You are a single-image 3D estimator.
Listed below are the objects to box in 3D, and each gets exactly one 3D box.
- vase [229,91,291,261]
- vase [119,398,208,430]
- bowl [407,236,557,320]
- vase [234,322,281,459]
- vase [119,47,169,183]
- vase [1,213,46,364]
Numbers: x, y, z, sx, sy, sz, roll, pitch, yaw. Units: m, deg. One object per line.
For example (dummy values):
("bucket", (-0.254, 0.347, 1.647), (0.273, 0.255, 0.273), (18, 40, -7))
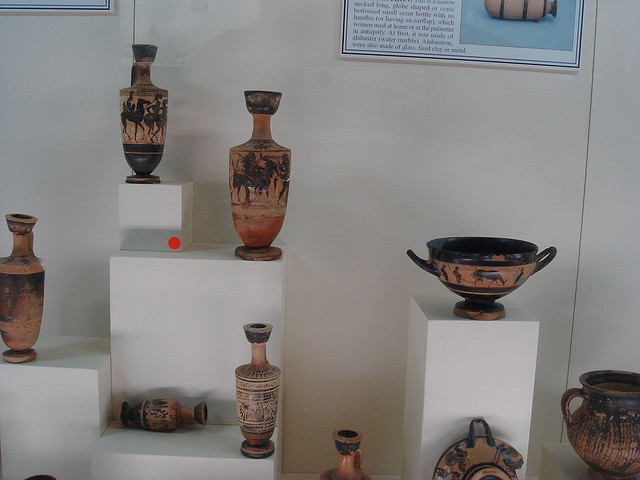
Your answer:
("vase", (-0.283, -0.311, 3.212), (0.279, 0.744, 0.152), (-1, 3, -6))
("vase", (-0.749, 0.810, 3.293), (0.434, 0.162, 0.157), (1, 1, 0))
("bowl", (0.703, 0.169, 3.005), (0.611, 0.346, 0.316), (0, 3, 19))
("vase", (-0.289, 0.682, 3.107), (0.178, 0.592, 0.164), (2, 4, 38))
("vase", (-0.843, -0.588, 3.282), (0.222, 0.630, 0.120), (-1, 3, -13))
("vase", (-1.384, 0.231, 3.184), (0.189, 0.683, 0.135), (-2, 3, -24))
